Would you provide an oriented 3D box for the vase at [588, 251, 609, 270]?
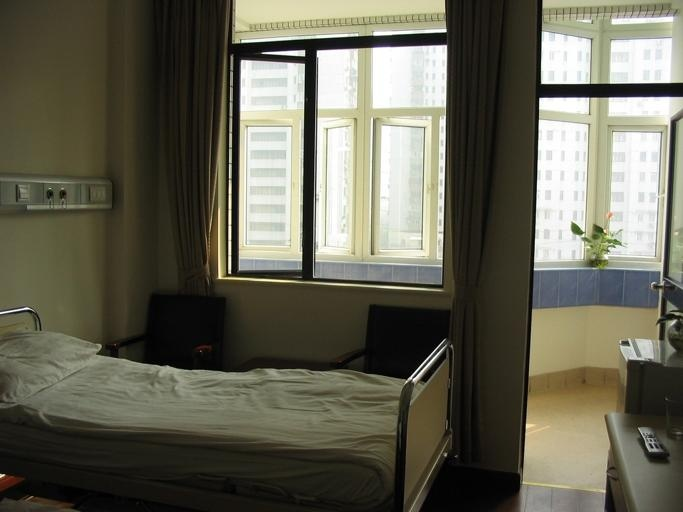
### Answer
[{"bbox_3d":[2.617,0.041,5.802,0.155,0.154,0.159,-2,5,-13],"label":"vase"}]

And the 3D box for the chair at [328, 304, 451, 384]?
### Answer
[{"bbox_3d":[0.363,0.515,4.087,0.552,0.826,0.578,3,4,17],"label":"chair"}]

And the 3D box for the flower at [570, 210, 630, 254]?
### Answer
[{"bbox_3d":[2.621,-0.229,5.796,0.618,0.436,0.227,-2,6,-13],"label":"flower"}]
